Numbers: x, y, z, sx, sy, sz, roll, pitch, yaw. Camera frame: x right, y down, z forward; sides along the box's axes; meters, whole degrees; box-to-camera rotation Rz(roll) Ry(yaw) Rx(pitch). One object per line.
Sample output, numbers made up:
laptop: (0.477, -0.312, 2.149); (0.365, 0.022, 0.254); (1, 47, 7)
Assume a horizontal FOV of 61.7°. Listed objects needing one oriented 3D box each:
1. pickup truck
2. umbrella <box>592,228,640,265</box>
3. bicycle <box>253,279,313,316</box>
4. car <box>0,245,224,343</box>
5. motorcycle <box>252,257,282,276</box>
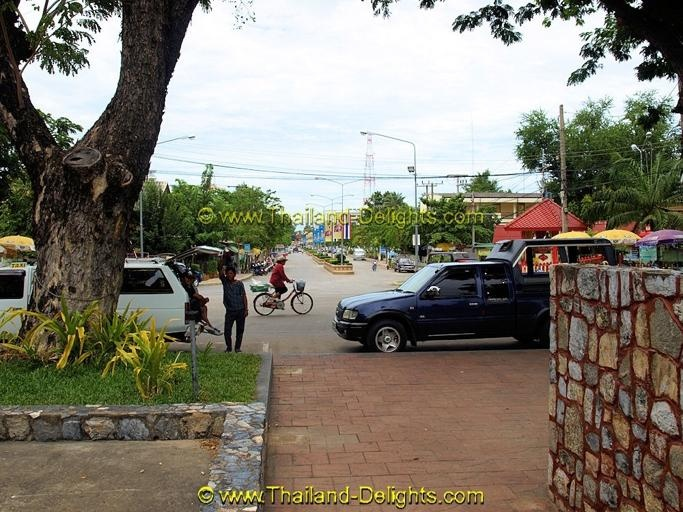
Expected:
pickup truck: (2.102, 1.092, 12.089); (3.830, 1.423, 1.889); (1, -3, -3)
umbrella: (11.339, -0.367, 23.291); (1.797, 1.582, 1.821); (-6, 8, -17)
bicycle: (-1.989, 1.512, 19.965); (2.229, 1.419, 1.122); (-1, 6, -3)
car: (-5.154, 0.719, 11.288); (4.063, 1.930, 2.289); (1, -3, -2)
motorcycle: (-5.859, 0.796, 43.526); (1.815, 1.116, 1.123); (-19, 14, -8)
